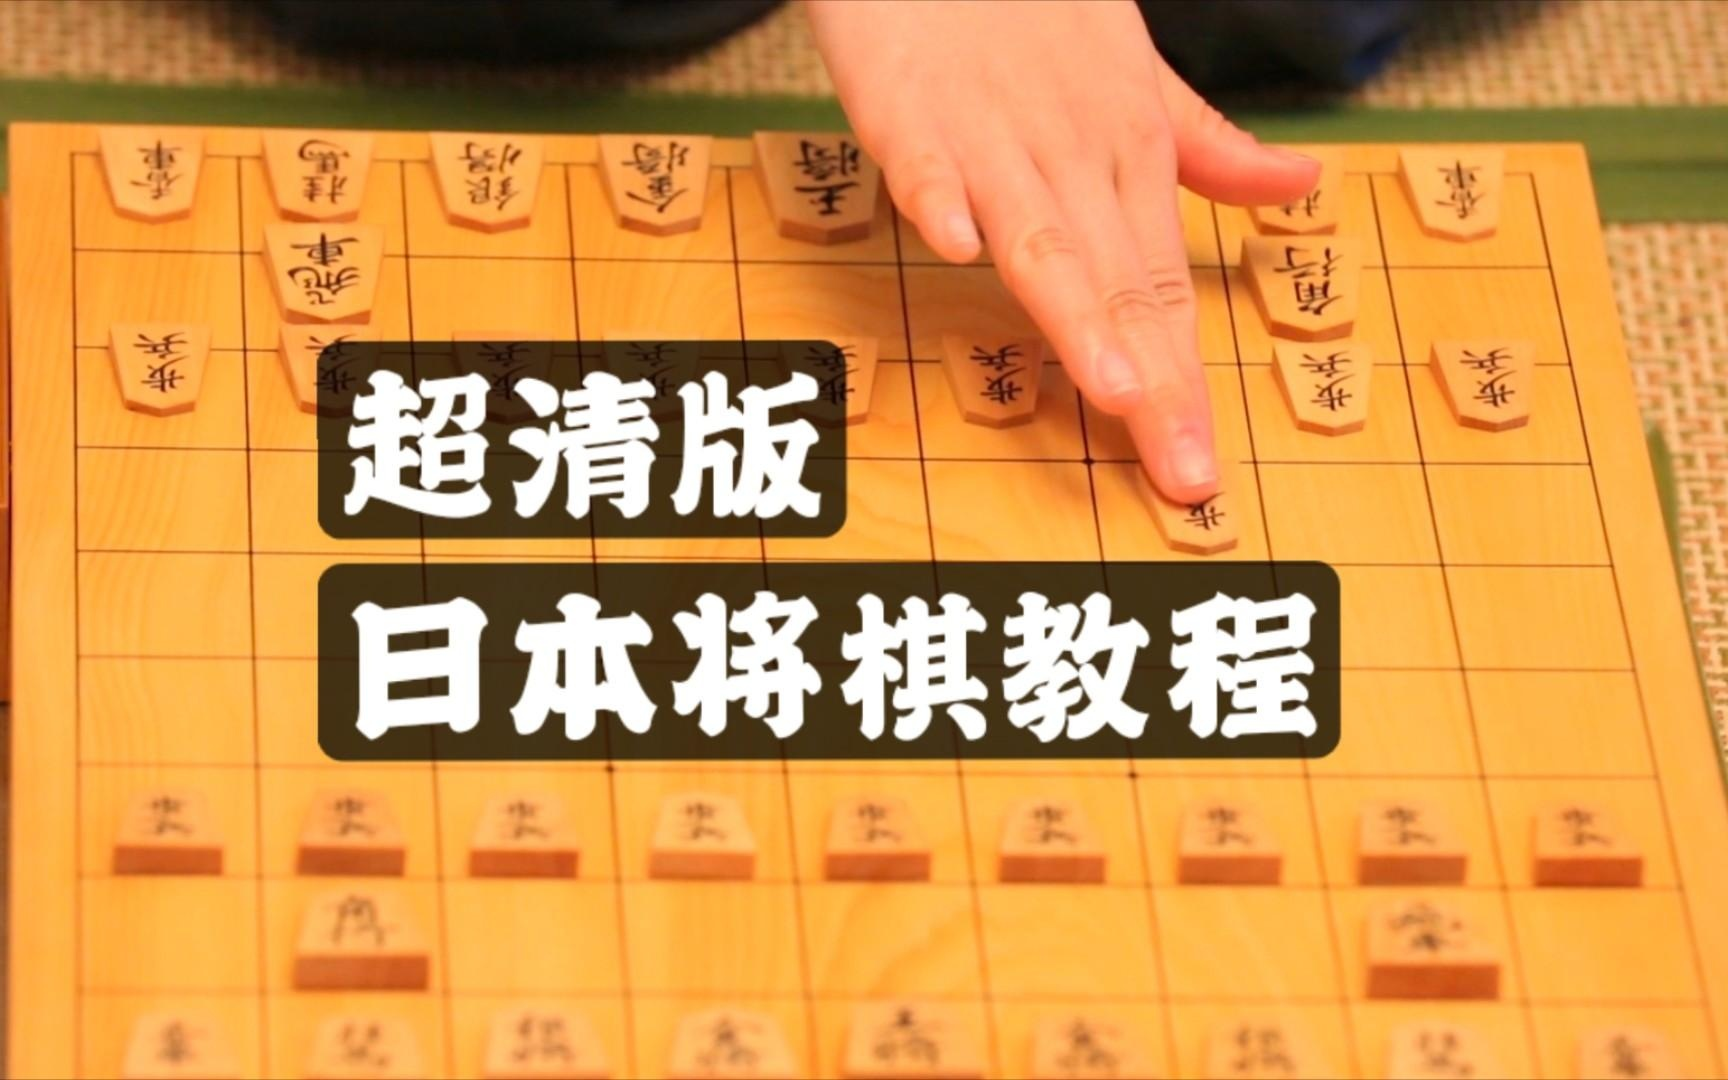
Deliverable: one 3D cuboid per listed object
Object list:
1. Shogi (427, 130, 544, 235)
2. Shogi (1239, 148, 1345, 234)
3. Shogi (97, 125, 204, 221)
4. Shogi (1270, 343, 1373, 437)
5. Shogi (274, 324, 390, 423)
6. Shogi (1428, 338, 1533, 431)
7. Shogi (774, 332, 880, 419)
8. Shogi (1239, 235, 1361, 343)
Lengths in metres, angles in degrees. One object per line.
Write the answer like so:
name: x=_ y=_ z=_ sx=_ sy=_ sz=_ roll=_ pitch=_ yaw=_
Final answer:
Shogi: x=-0.353 y=-0.338 z=1.591 sx=0.117 sy=0.024 sz=0.091 roll=-6 pitch=72 yaw=-3
Shogi: x=0.429 y=-0.335 z=1.647 sx=0.081 sy=0.021 sz=0.085 roll=0 pitch=64 yaw=-1
Shogi: x=-0.661 y=-0.341 z=1.573 sx=0.102 sy=0.022 sz=0.089 roll=-4 pitch=59 yaw=-12
Shogi: x=0.426 y=-0.146 z=1.556 sx=0.092 sy=0.023 sz=0.080 roll=-6 pitch=63 yaw=-4
Shogi: x=-0.491 y=-0.149 z=1.558 sx=0.097 sy=0.020 sz=0.075 roll=0 pitch=77 yaw=-6
Shogi: x=0.584 y=-0.134 z=1.576 sx=0.095 sy=0.019 sz=0.094 roll=-35 pitch=48 yaw=-23
Shogi: x=-0.032 y=-0.155 z=1.535 sx=0.087 sy=0.020 sz=0.078 roll=2 pitch=69 yaw=-6
Shogi: x=0.420 y=-0.242 z=1.601 sx=0.121 sy=0.030 sz=0.095 roll=-7 pitch=61 yaw=-5
